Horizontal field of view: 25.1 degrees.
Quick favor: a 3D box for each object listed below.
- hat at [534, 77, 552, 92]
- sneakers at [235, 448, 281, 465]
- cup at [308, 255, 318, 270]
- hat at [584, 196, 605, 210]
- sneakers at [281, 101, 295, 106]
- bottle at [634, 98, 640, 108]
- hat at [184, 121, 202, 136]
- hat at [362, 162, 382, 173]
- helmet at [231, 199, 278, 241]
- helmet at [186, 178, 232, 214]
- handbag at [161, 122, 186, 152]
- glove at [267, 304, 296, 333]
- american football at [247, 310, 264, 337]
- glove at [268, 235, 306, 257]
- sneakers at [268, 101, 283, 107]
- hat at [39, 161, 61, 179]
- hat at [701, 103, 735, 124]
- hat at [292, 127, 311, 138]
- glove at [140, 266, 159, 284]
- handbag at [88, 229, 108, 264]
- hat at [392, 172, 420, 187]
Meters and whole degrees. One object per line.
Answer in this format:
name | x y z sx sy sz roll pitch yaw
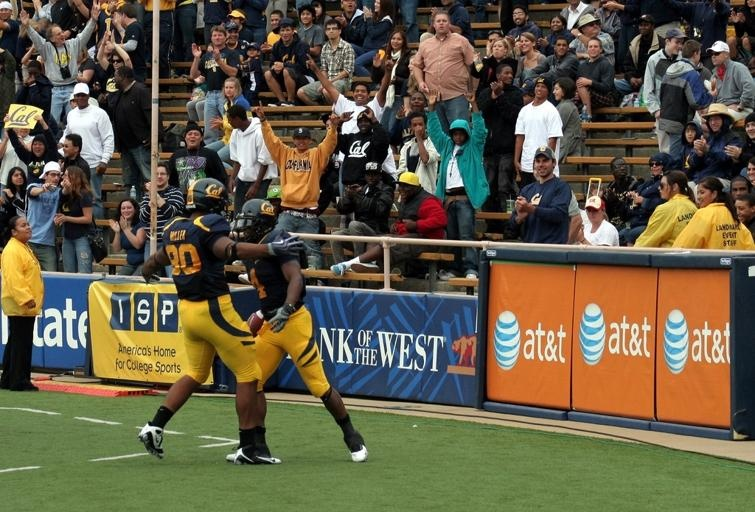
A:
hat | 2.780 -2.905 28.261 0.230 0.221 0.284 17 14 -11
sneakers | -1.623 2.728 22.840 0.478 0.196 0.249 4 -5 -4
cup | -1.016 0.110 27.395 0.161 0.221 0.081 -1 -6 3
hat | 3.444 -0.839 26.870 0.256 0.199 0.246 -1 15 -3
sneakers | -1.686 -2.905 32.087 0.256 0.103 0.095 -3 17 -10
bottle | 4.644 -2.749 30.330 0.118 0.189 0.126 3 -8 0
hat | -3.144 -2.229 29.051 0.300 0.270 0.422 0 -20 -3
hat | -0.067 -1.461 27.786 0.242 0.204 0.266 0 15 0
helmet | -1.676 -0.505 23.269 0.595 0.529 0.480 -1 4 -10
helmet | -2.314 -0.819 23.045 0.524 0.433 0.429 -9 16 -27
handbag | -3.861 -2.251 32.217 0.323 0.468 0.593 22 36 3
glove | -1.275 0.834 22.653 0.400 0.257 0.143 -32 13 -12
american football | -1.639 0.929 23.086 0.120 0.308 0.218 34 -5 -13
glove | -1.228 -0.099 22.732 0.479 0.327 0.394 -2 15 -9
sneakers | -1.955 -2.909 32.318 0.315 0.128 0.116 5 -12 11
hat | -5.594 -1.497 29.144 0.352 0.218 0.255 -1 -4 2
hat | 5.504 -2.327 27.396 0.485 0.275 0.316 3 15 13
hat | -1.234 -2.044 28.036 0.256 0.178 0.218 -3 15 -11
glove | -3.177 0.240 23.863 0.107 0.304 0.300 -21 38 -33
handbag | -4.775 -0.155 29.121 0.273 0.589 0.326 0 15 -1
hat | 0.526 -1.234 27.296 0.301 0.150 0.209 6 -2 -30
